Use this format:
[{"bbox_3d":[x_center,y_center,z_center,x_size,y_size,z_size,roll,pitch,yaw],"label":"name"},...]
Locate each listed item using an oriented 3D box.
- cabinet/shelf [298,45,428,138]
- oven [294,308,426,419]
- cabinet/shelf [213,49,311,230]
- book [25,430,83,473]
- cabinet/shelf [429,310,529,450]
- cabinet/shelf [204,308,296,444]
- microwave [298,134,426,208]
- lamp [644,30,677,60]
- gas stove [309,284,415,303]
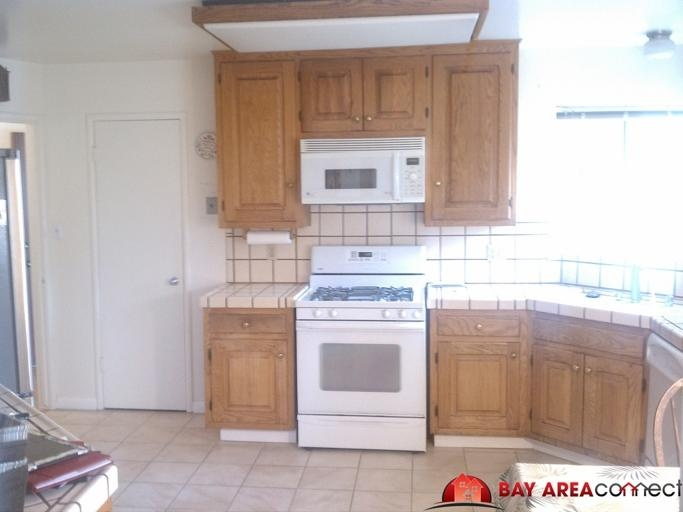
[{"bbox_3d":[0.209,-1.034,3.775,0.949,0.476,0.328,10,22,32],"label":"cabinet/shelf"},{"bbox_3d":[0.142,0.525,3.775,1.034,0.616,0.643,0,-3,5],"label":"oven"},{"bbox_3d":[-0.516,-0.776,3.972,0.675,1.056,0.565,4,17,12],"label":"cabinet/shelf"},{"bbox_3d":[-0.842,0.569,1.700,0.157,0.021,0.174,11,9,39],"label":"book"},{"bbox_3d":[0.756,0.731,3.812,0.763,0.772,0.665,2,-6,-1],"label":"cabinet/shelf"},{"bbox_3d":[-0.498,0.735,3.899,0.719,0.800,0.625,-3,-6,11],"label":"cabinet/shelf"},{"bbox_3d":[0.145,-0.532,3.812,0.816,0.335,0.354,-1,6,5],"label":"microwave"},{"bbox_3d":[1.907,-1.272,3.508,0.154,0.119,0.150,-1,0,36],"label":"lamp"},{"bbox_3d":[0.121,0.238,3.747,0.656,0.049,0.472,0,13,6],"label":"gas stove"}]
